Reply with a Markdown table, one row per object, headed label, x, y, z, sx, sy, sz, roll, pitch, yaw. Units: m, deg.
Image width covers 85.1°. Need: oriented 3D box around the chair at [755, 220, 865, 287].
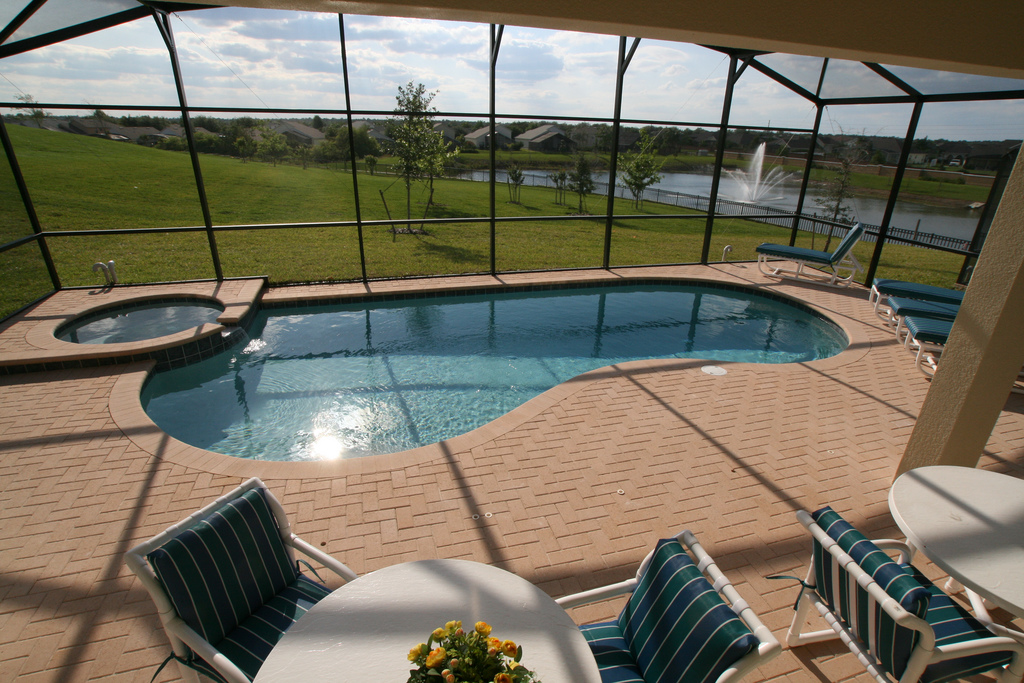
| label | x | y | z | sx | sy | sz | roll | pitch | yaw |
| --- | --- | --- | --- | --- | --- | --- | --- | --- | --- |
| chair | 6.071 | -2.004 | 12.661 | 3.351 | 1.352 | 1.280 | 6 | 26 | 20 |
